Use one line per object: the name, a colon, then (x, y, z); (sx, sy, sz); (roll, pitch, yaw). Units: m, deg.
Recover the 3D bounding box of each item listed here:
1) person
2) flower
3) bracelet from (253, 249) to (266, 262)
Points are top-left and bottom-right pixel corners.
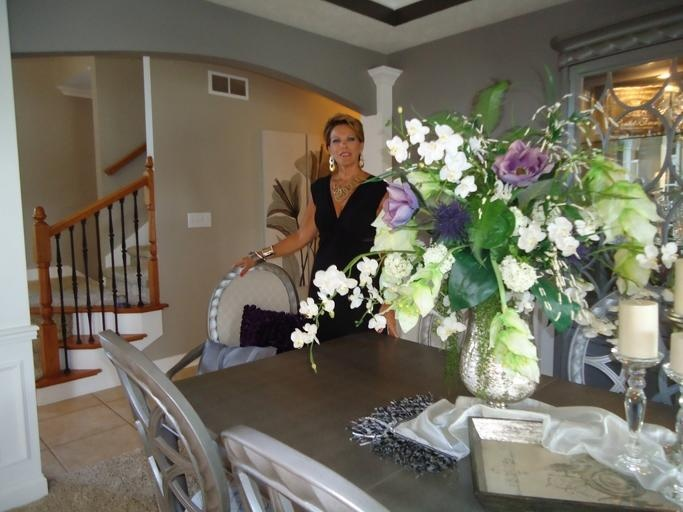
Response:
person: (-0.027, 0.111, 2.864); (1.013, 1.805, 0.601); (2, 11, 17)
flower: (0.432, -0.061, 1.632); (0.875, 0.753, 0.926); (3, 0, 1)
bracelet: (-0.416, 0.002, 2.501); (0.037, 0.064, 0.060); (6, -1, 24)
